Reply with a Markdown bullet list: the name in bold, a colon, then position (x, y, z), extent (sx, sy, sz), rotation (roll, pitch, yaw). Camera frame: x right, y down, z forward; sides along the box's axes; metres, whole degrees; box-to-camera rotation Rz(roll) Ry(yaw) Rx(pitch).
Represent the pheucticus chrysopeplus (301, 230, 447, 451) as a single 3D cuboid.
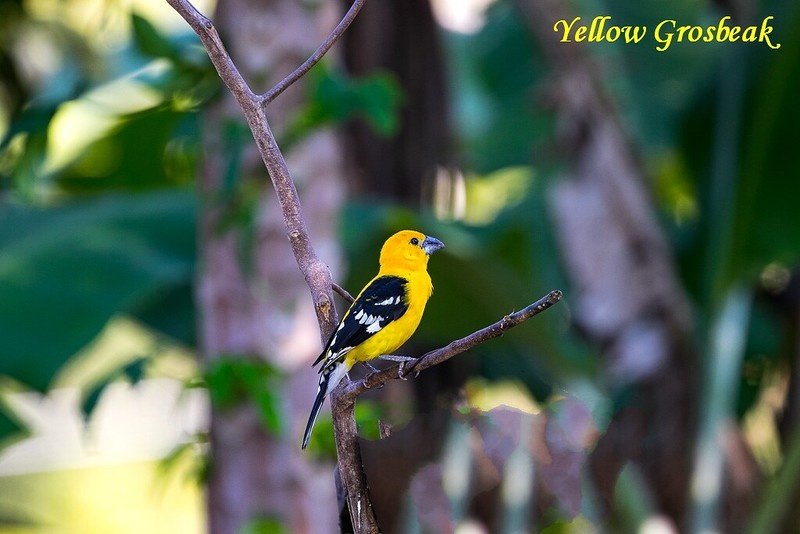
- **pheucticus chrysopeplus**: position (-0.172, 0.443, 8.421), extent (0.591, 1.004, 1.951), rotation (6, 39, 25)
